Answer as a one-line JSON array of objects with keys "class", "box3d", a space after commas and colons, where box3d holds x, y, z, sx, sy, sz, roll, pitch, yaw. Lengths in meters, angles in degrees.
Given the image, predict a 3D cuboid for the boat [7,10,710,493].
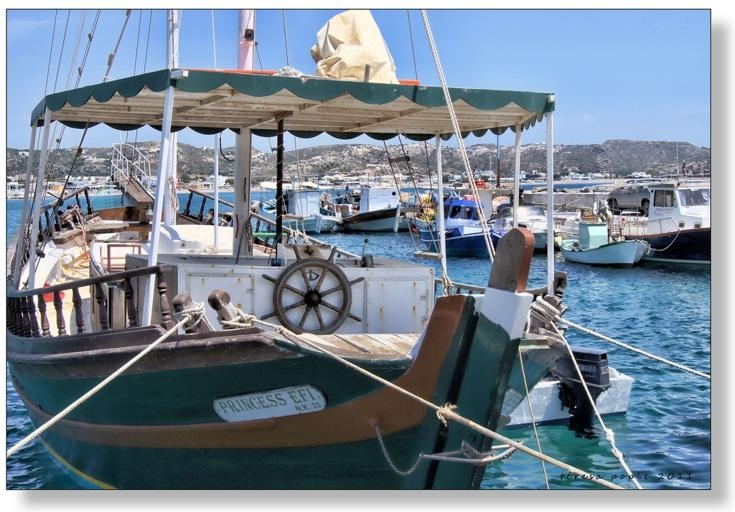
[{"class": "boat", "box3d": [-2.117, 0.085, 8.972, 6.136, 3.584, 9.102, 2, 0, -33]}]
